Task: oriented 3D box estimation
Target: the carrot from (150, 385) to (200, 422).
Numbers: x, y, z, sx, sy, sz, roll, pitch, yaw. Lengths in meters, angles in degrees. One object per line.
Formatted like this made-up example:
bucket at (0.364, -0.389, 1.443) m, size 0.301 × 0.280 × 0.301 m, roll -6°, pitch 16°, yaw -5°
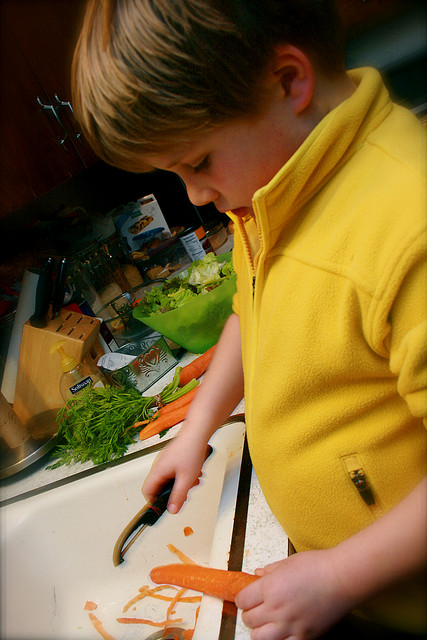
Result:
carrot at (-0.086, 0.189, 1.053) m, size 0.032 × 0.024 × 0.169 m, roll 13°, pitch 31°, yaw 32°

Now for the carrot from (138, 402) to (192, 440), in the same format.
carrot at (-0.104, 0.218, 1.007) m, size 0.137 × 0.036 × 0.036 m, roll -32°, pitch 70°, yaw 0°

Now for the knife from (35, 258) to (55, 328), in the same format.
knife at (-0.476, -0.072, 1.292) m, size 0.045 × 0.205 × 0.045 m, roll 6°, pitch -14°, yaw -39°

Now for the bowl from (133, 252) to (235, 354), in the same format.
bowl at (-0.056, -0.053, 1.282) m, size 0.288 × 0.141 × 0.290 m, roll -24°, pitch 14°, yaw 6°

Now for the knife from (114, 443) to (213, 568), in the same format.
knife at (-0.083, 0.284, 0.849) m, size 0.047 × 0.099 × 0.327 m, roll 0°, pitch 24°, yaw 32°

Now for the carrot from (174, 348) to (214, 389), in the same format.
carrot at (-0.048, 0.120, 1.156) m, size 0.119 × 0.037 × 0.035 m, roll -35°, pitch 45°, yaw -6°
